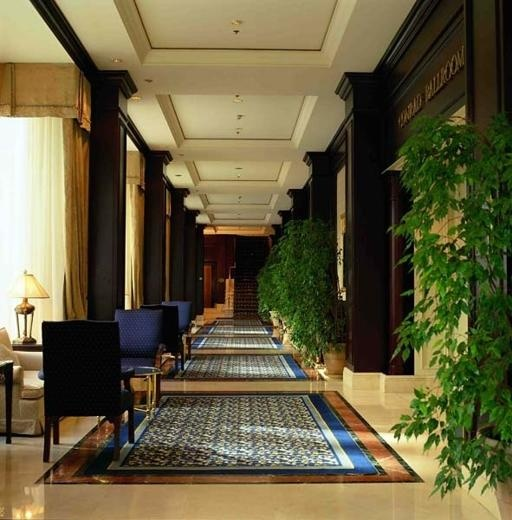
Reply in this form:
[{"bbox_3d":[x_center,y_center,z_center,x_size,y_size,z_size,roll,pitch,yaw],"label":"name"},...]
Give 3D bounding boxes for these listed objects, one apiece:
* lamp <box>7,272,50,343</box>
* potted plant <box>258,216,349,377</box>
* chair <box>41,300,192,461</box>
[{"bbox_3d":[-2.563,0.533,4.601,0.476,0.835,0.458,3,-7,-38],"label":"lamp"},{"bbox_3d":[0.903,0.761,7.939,1.099,3.028,3.093,-2,9,-6],"label":"potted plant"},{"bbox_3d":[-1.159,0.994,3.932,0.711,1.328,1.326,0,-2,1],"label":"chair"}]
